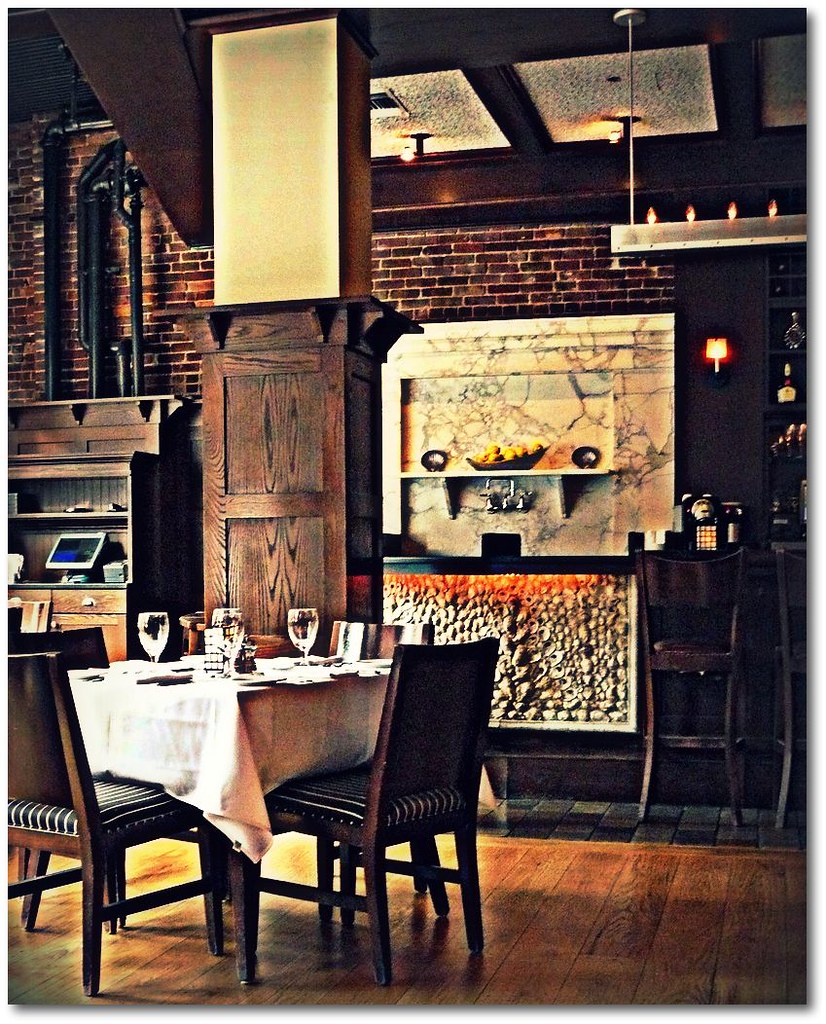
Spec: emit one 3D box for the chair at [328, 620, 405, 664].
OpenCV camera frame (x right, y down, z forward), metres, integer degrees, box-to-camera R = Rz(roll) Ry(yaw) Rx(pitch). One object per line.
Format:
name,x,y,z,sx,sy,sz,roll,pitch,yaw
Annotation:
chair,-0.154,0.419,3.732,0.209,0.155,0.162,5,0,34

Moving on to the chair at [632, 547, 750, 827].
chair,1.220,0.755,5.018,0.467,1.164,0.627,-1,-2,17

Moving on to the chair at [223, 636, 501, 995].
chair,-0.094,0.772,3.054,0.531,0.867,0.501,-1,-3,31

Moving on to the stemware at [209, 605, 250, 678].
stemware,-0.536,0.360,3.281,0.103,0.213,0.107,-5,10,-27

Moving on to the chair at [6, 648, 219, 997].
chair,-0.882,0.800,3.108,0.618,0.866,0.567,-1,-3,33

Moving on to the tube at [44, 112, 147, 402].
tube,-2.006,-1.625,7.189,0.838,1.861,0.412,-1,-2,33

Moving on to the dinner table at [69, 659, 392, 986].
dinner table,-0.508,0.702,3.308,0.870,0.520,0.837,-3,-3,29
